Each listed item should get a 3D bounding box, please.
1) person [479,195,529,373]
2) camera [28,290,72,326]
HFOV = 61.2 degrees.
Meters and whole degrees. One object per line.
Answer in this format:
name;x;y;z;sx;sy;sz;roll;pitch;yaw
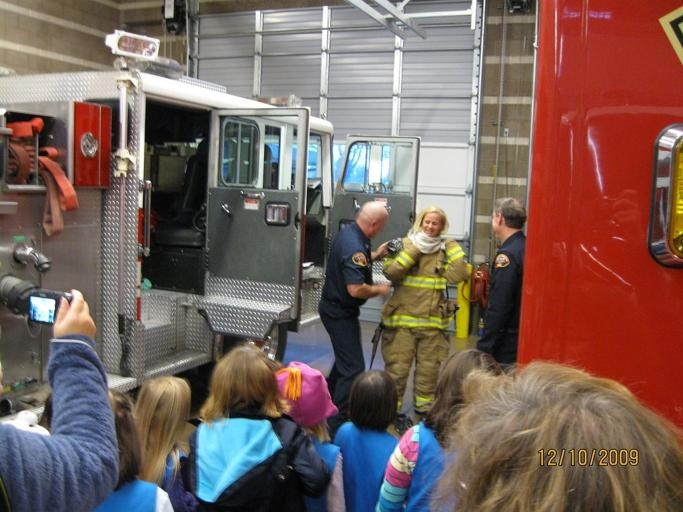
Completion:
person;1.153;0.158;4.129;0.266;1.079;0.373;5;2;15
camera;-1.153;0.204;2.285;0.153;0.120;0.090;5;1;16
